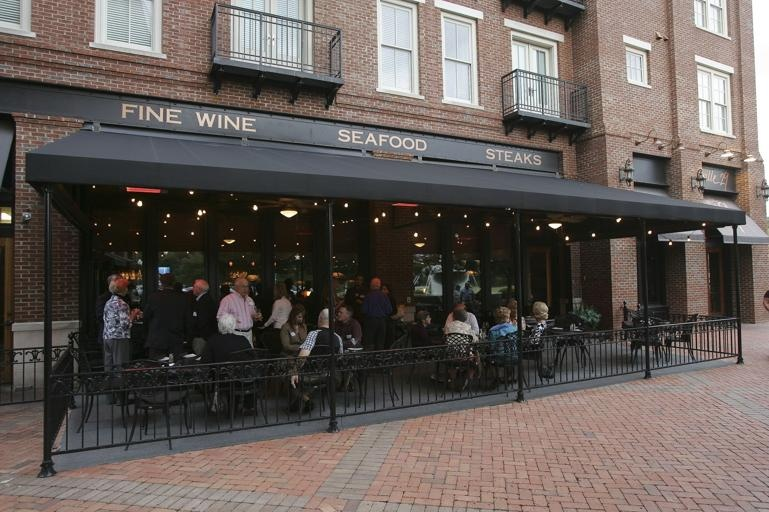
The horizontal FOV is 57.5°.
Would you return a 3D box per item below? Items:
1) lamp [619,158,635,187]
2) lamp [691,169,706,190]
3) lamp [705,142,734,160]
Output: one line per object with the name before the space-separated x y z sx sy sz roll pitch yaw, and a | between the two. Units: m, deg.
lamp | 7.700 -2.682 22.135 0.685 0.869 0.432 3 -9 -40
lamp | 10.633 -2.622 23.678 0.513 0.771 0.307 2 -8 -34
lamp | 11.878 -3.740 24.769 1.863 0.643 0.295 2 -8 -35
